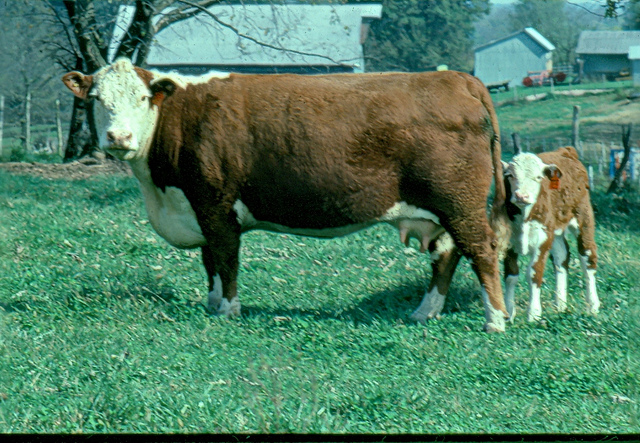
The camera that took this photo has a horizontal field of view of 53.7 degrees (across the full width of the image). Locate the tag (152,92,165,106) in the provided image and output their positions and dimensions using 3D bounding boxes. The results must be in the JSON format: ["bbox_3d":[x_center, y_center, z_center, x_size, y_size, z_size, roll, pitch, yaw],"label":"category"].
[{"bbox_3d":[-1.671,-1.275,6.543,0.129,0.123,0.058,-8,13,-17],"label":"tag"}]

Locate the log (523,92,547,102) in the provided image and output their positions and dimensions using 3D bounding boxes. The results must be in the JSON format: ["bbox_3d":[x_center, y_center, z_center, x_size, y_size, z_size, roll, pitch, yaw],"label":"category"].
[{"bbox_3d":[2.619,-1.516,7.718,0.296,0.109,0.143,-7,13,-15],"label":"log"}]

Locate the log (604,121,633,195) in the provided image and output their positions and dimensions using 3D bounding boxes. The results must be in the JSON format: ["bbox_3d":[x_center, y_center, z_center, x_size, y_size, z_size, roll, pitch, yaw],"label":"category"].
[{"bbox_3d":[3.750,-0.769,7.991,0.277,0.932,0.476,1,14,24],"label":"log"}]

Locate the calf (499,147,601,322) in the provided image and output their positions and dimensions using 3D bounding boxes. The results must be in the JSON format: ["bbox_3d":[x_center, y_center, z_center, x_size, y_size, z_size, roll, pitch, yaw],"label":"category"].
[{"bbox_3d":[2.629,0.147,7.552,0.940,1.956,2.469,9,9,34],"label":"calf"}]
